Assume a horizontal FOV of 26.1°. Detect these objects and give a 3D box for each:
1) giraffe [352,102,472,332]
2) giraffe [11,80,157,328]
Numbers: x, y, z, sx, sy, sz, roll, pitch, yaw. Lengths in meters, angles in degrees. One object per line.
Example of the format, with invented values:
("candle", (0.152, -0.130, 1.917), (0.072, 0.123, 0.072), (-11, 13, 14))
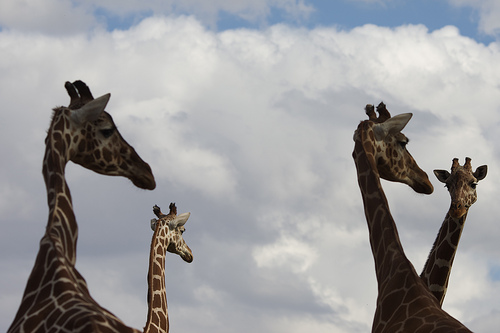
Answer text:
("giraffe", (3.848, 1.492, 27.958), (1.909, 6.031, 3.503), (-6, -16, 5))
("giraffe", (-3.917, 1.415, 27.947), (2.801, 6.184, 4.184), (-12, -17, 23))
